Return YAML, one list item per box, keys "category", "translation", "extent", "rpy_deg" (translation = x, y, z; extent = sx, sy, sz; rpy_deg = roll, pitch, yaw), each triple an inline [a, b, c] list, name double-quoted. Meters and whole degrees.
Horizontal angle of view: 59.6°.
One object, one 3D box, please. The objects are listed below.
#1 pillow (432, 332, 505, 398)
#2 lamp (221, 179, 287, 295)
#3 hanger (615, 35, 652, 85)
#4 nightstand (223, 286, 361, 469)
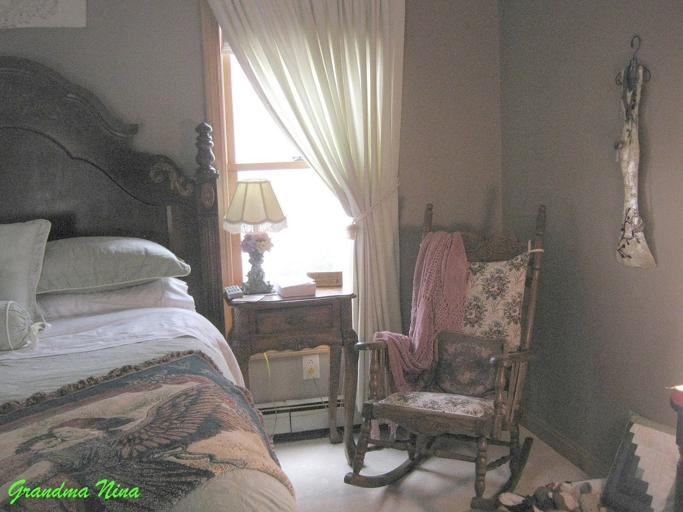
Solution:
- category: "pillow"
  translation: [0.679, 0.597, 3.269]
  extent: [0.320, 0.343, 0.079]
  rpy_deg: [1, -5, 24]
- category: "lamp"
  translation: [-0.474, -0.144, 3.452]
  extent: [0.315, 0.697, 0.326]
  rpy_deg: [7, 9, 18]
- category: "hanger"
  translation: [1.372, -0.914, 2.800]
  extent: [0.090, 0.262, 0.150]
  rpy_deg: [-4, 14, -6]
- category: "nightstand"
  translation: [-0.276, 0.710, 3.516]
  extent: [0.741, 0.997, 0.504]
  rpy_deg: [-4, 4, -14]
